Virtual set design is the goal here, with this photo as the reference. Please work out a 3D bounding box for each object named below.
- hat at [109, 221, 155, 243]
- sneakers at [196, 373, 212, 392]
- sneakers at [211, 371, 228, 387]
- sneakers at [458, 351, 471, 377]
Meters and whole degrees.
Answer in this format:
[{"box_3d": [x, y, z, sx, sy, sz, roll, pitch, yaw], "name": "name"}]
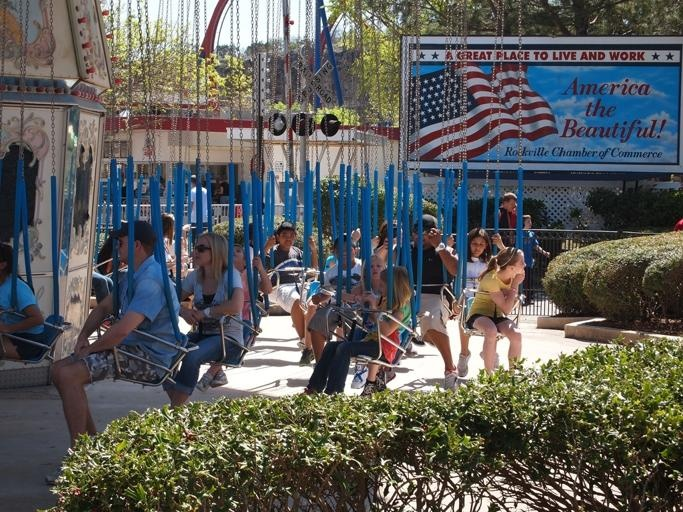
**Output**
[{"box_3d": [-1.440, -0.166, 5.946, 0.217, 0.151, 0.177, 2, -3, 4], "name": "hat"}, {"box_3d": [-1.104, 1.003, 6.812, 0.067, 0.146, 0.198, 28, 4, -16], "name": "sneakers"}, {"box_3d": [-0.990, 1.008, 6.900, 0.070, 0.122, 0.158, -1, 13, 8], "name": "sneakers"}, {"box_3d": [1.118, 0.999, 7.742, 0.078, 0.290, 0.110, 2, -19, 25], "name": "sneakers"}]
